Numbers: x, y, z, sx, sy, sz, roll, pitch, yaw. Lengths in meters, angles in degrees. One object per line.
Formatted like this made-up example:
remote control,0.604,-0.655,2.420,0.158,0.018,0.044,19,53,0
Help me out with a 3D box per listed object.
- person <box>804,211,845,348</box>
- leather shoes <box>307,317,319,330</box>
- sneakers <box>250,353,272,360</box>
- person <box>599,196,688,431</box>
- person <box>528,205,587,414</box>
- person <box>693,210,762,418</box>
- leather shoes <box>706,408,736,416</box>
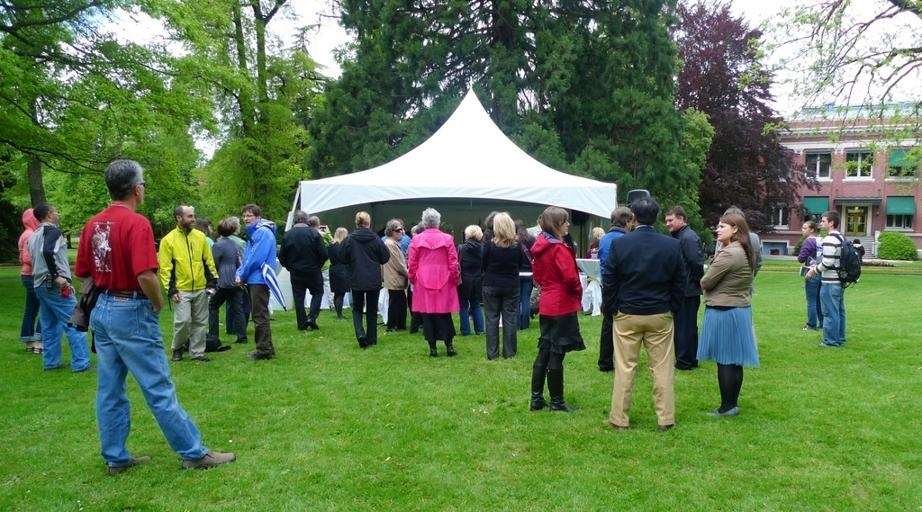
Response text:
person,8.342,0.537,16.862,0.560,3.249,0.513,1,0,15
leather shoes,-3.630,1.726,18.328,0.140,0.165,0.380,-2,-16,9
sneakers,-4.302,2.192,16.072,0.306,0.119,0.183,5,-5,1
person,3.321,1.067,13.661,1.399,4.242,0.485,1,0,13
person,1.773,1.001,14.110,0.764,3.688,0.734,1,0,-30
person,4.983,1.071,14.043,1.035,3.958,0.663,1,0,15
leather shoes,4.889,2.964,14.006,0.508,0.154,0.187,-1,-2,15
